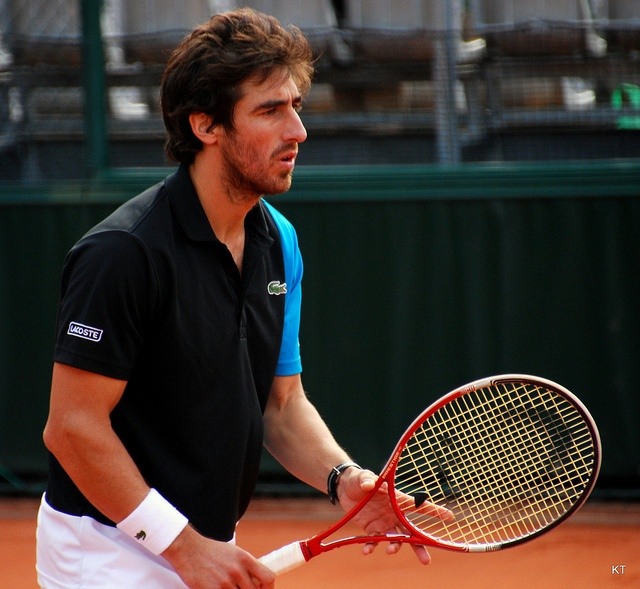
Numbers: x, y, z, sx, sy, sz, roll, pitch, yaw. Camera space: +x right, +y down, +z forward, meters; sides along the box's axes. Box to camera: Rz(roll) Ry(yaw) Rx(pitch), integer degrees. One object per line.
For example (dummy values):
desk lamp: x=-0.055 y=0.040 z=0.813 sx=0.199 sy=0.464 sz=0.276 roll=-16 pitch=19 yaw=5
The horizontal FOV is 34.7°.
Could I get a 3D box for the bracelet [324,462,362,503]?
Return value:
bracelet: x=0.073 y=0.633 z=3.495 sx=0.092 sy=0.144 sz=0.039 roll=22 pitch=6 yaw=-31
